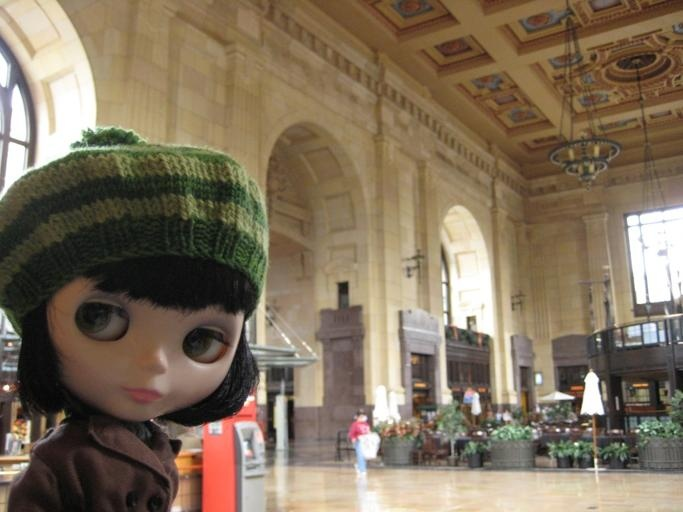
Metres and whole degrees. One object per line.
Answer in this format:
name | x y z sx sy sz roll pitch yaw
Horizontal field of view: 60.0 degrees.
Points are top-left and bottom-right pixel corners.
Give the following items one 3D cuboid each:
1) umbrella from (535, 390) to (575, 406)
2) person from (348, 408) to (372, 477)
umbrella | 10.297 6.802 28.339 1.950 0.853 1.825 12 -16 -40
person | 0.415 4.244 13.486 0.424 1.369 0.944 0 -13 1
